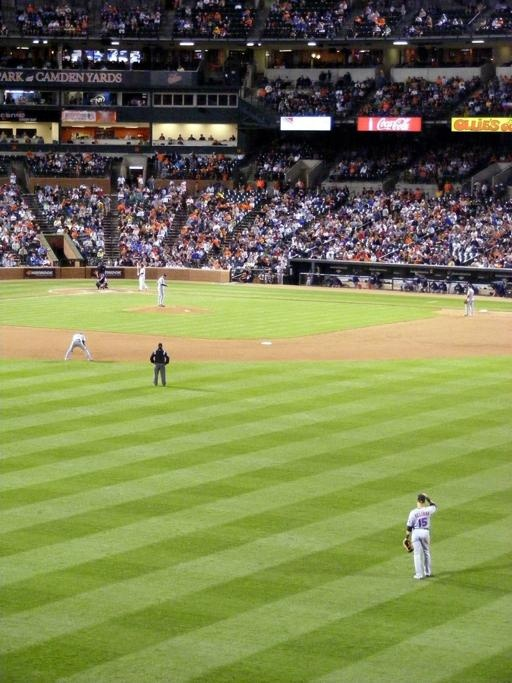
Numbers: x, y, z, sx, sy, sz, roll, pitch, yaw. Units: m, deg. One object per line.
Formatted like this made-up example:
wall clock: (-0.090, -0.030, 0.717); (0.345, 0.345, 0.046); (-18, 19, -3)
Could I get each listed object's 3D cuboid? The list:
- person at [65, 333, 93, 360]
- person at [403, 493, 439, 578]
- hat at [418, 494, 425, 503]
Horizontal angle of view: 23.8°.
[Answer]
person: (-4.579, 0.004, 31.214); (0.642, 0.298, 1.087); (1, -21, -10)
person: (2.083, 2.476, 15.371); (0.400, 1.132, 0.493); (10, 23, 15)
hat: (2.055, 1.980, 15.255); (0.082, 0.096, 0.099); (-2, 2, 3)
